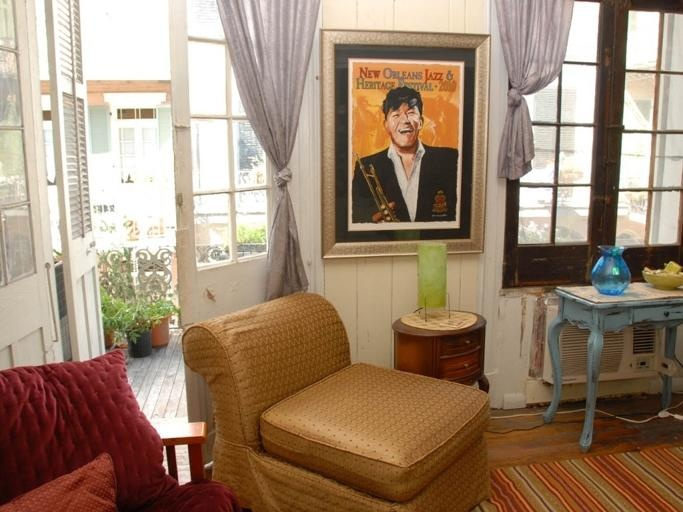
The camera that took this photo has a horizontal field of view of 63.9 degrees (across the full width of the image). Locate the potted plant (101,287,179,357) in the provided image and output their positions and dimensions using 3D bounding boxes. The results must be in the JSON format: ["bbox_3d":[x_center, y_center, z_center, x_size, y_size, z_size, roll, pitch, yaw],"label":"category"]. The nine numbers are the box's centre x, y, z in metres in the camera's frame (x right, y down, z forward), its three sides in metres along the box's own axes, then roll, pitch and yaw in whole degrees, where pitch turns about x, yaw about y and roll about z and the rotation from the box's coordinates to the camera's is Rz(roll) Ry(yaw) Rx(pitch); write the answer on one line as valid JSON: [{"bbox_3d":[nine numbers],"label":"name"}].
[{"bbox_3d":[-1.814,0.558,4.754,0.544,0.401,0.574,1,-1,-12],"label":"potted plant"}]

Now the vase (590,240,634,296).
[{"bbox_3d":[1.597,0.080,3.253,0.253,0.372,0.264,0,1,18],"label":"vase"}]

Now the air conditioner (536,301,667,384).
[{"bbox_3d":[1.840,0.559,3.865,0.723,0.585,0.403,-7,21,3],"label":"air conditioner"}]
